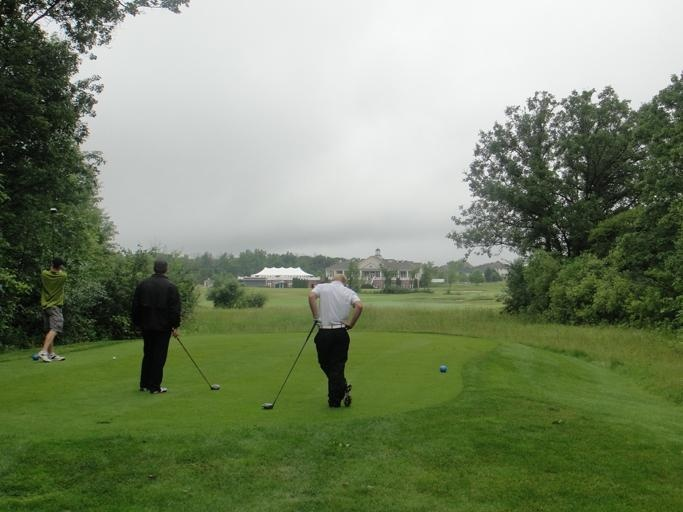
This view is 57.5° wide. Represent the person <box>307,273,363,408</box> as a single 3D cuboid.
[{"bbox_3d":[-0.149,1.848,13.888,0.886,2.734,1.149,-6,13,-40],"label":"person"}]

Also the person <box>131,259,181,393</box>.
[{"bbox_3d":[-4.292,1.625,14.410,1.060,2.975,1.106,-1,10,-19],"label":"person"}]

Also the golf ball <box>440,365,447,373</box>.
[{"bbox_3d":[2.651,2.981,16.362,0.145,0.112,0.167,-1,-6,-3],"label":"golf ball"}]
